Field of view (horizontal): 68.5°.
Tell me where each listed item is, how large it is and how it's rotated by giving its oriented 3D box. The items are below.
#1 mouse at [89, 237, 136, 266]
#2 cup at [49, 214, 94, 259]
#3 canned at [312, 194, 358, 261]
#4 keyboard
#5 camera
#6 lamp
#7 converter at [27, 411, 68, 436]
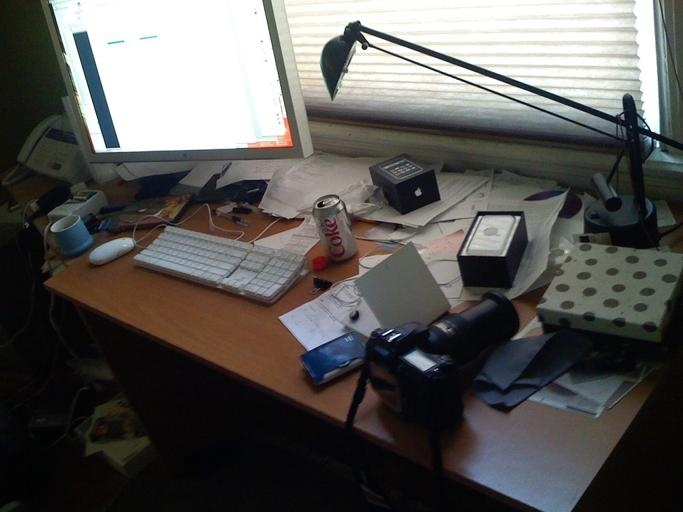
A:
[{"bbox_3d":[-0.609,-0.019,1.353,0.063,0.024,0.108,29,46,36],"label":"mouse"},{"bbox_3d":[-0.751,-0.047,1.395,0.095,0.086,0.092,-8,31,5],"label":"cup"},{"bbox_3d":[-0.017,-0.060,1.149,0.085,0.137,0.076,-15,27,0],"label":"canned"},{"bbox_3d":[-0.272,-0.030,1.146,0.458,0.061,0.160,14,53,28],"label":"keyboard"},{"bbox_3d":[0.183,0.156,0.877,0.269,0.134,0.163,-27,26,-31],"label":"camera"},{"bbox_3d":[0.365,-0.308,1.077,0.700,0.429,0.343,13,43,29],"label":"lamp"},{"bbox_3d":[-1.069,0.600,1.836,0.136,0.086,0.070,8,36,-3],"label":"converter"}]
